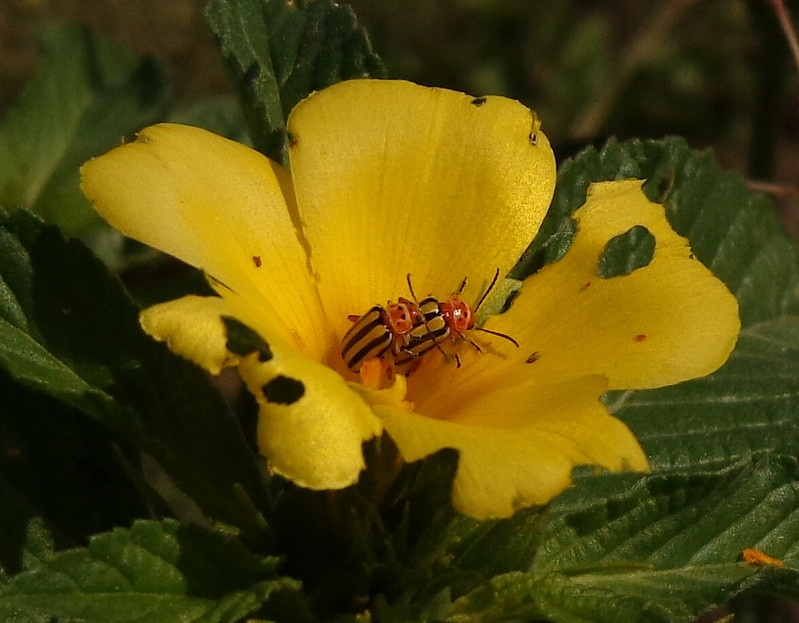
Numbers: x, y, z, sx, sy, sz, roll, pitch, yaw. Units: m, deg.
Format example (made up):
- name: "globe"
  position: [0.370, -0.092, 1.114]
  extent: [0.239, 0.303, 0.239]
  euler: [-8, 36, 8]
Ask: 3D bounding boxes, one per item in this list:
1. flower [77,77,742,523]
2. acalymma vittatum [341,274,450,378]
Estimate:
- name: "flower"
  position: [0.040, -0.050, 1.921]
  extent: [0.914, 0.301, 0.916]
  euler: [-11, 48, -48]
- name: "acalymma vittatum"
  position: [-0.037, 0.033, 1.972]
  extent: [0.189, 0.057, 0.156]
  euler: [-23, 49, 8]
